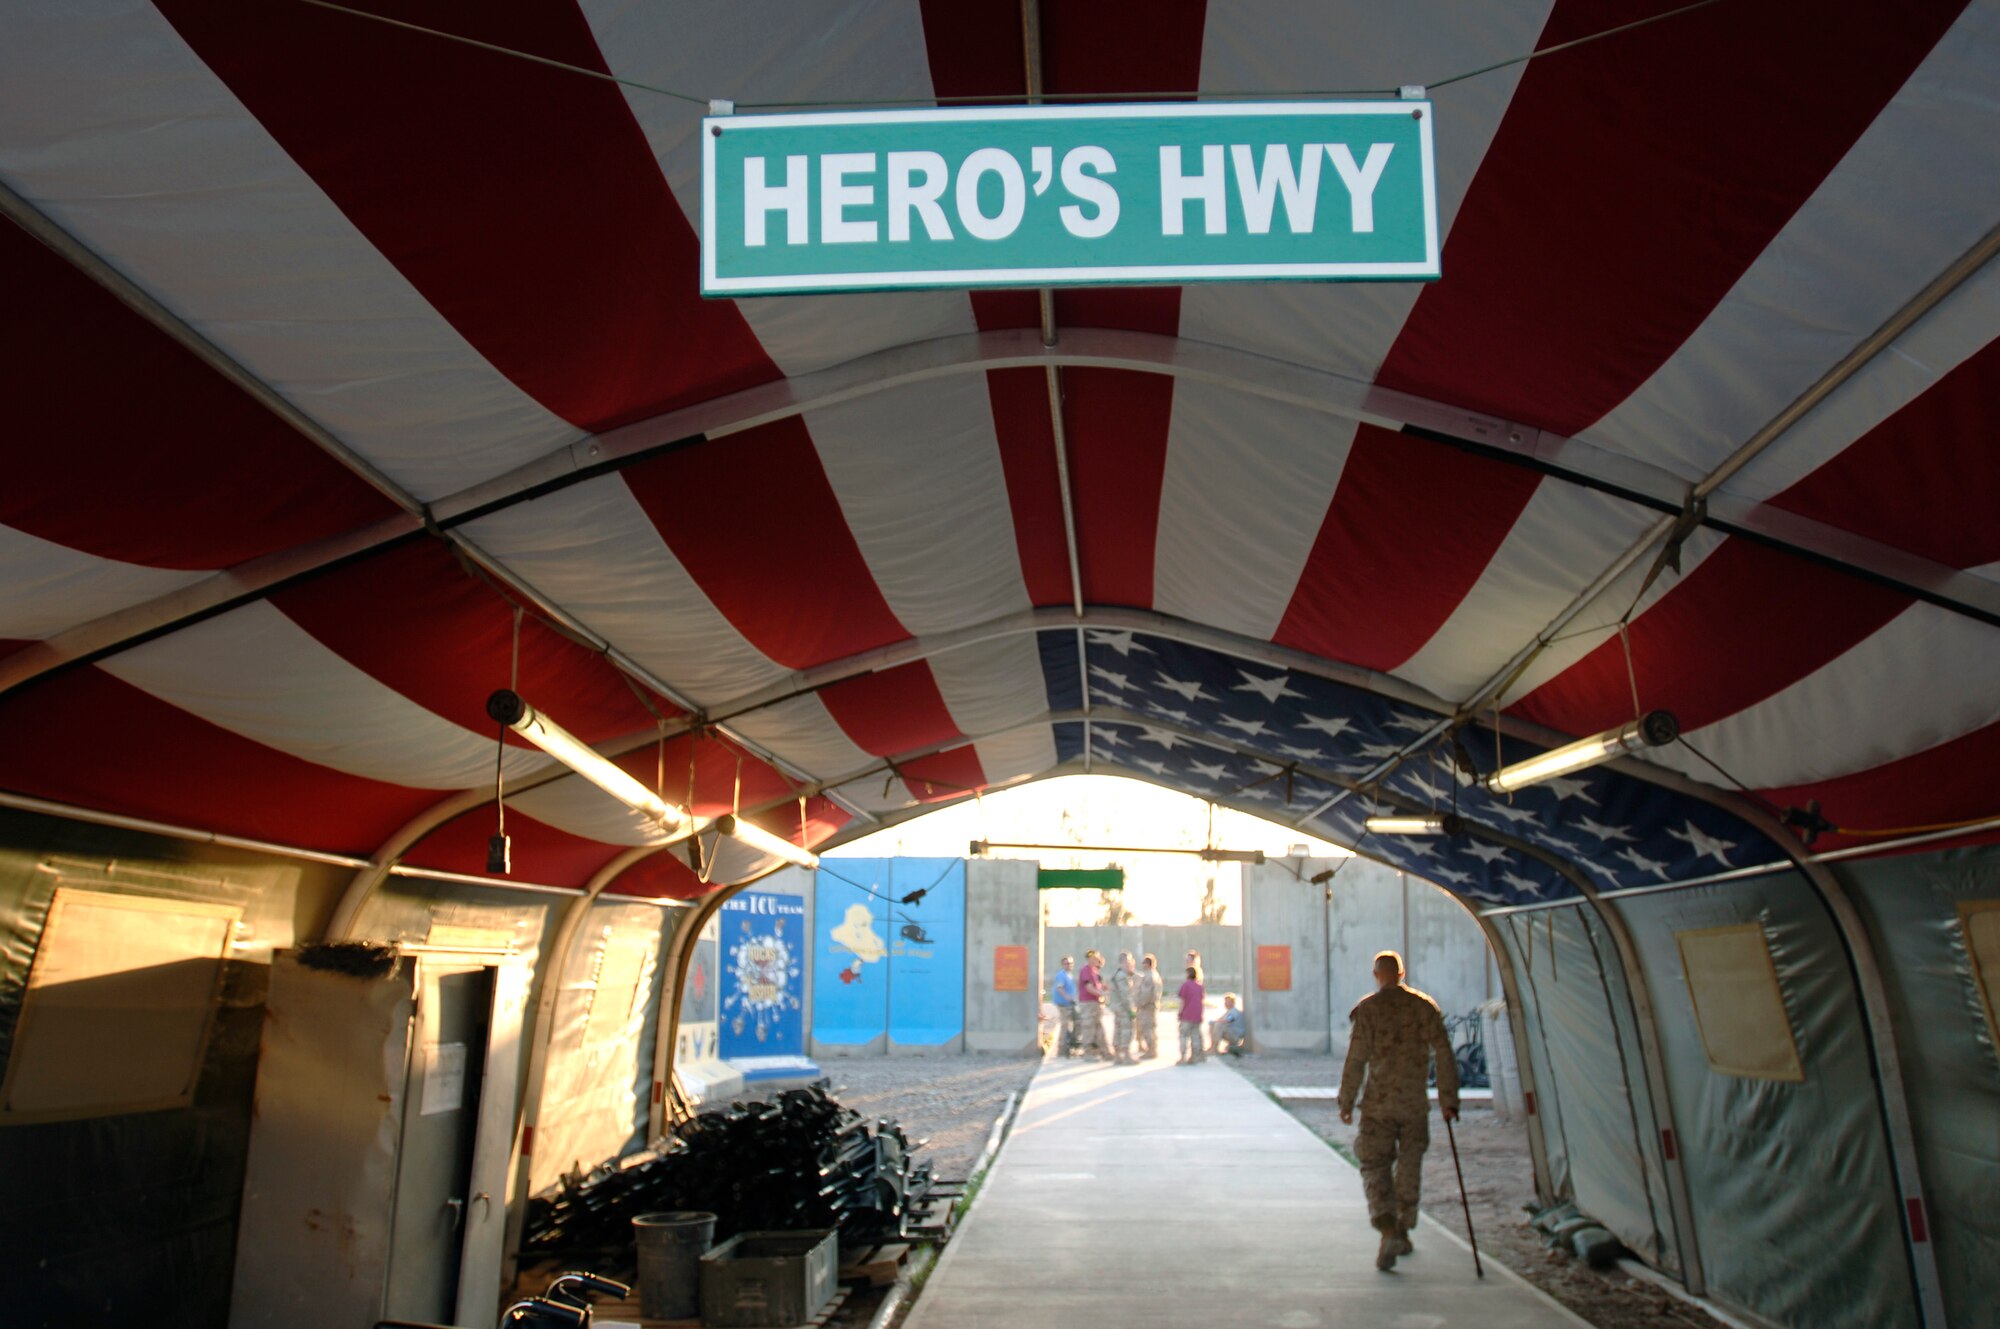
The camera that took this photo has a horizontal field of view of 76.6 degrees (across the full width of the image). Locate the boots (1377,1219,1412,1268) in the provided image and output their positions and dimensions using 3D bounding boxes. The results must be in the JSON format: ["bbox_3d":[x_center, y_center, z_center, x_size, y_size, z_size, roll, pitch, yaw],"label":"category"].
[{"bbox_3d":[3.266,4.694,10.327,0.229,0.338,0.466,2,0,5],"label":"boots"}]

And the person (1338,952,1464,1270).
[{"bbox_3d":[3.413,3.710,10.734,0.944,2.523,1.079,-7,-19,18],"label":"person"}]

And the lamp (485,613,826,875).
[{"bbox_3d":[-2.611,0.556,9.405,0.434,1.926,3.677,-20,-29,13],"label":"lamp"}]

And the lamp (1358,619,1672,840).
[{"bbox_3d":[3.406,0.568,8.087,0.433,1.359,3.015,8,-3,-21],"label":"lamp"}]
